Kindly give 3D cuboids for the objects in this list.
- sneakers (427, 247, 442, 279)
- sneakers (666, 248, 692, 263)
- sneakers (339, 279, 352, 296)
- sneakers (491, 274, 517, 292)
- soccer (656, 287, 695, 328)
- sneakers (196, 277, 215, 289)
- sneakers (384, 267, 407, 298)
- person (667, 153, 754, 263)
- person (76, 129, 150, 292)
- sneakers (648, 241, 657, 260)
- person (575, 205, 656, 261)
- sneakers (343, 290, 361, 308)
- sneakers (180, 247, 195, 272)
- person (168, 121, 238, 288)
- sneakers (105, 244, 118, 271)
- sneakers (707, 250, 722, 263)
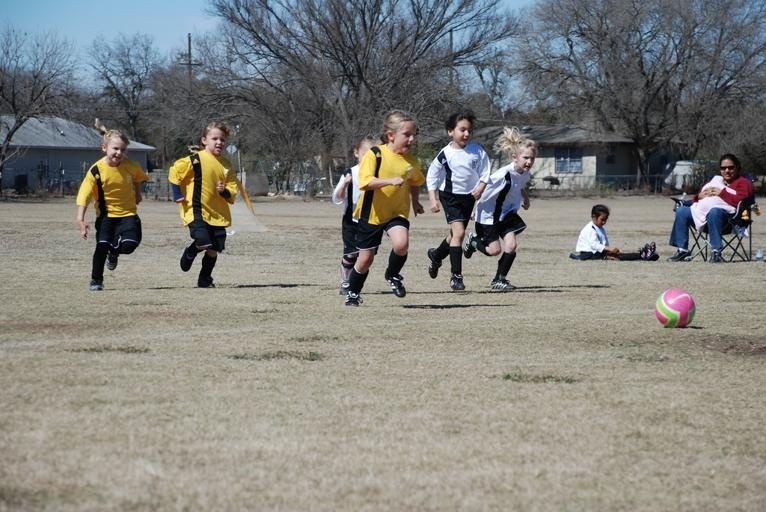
[{"bbox_3d":[0.660,0.118,12.925,0.188,0.419,0.148,9,18,39],"label":"sneakers"},{"bbox_3d":[4.485,-0.014,15.683,0.440,0.212,0.165,-1,3,-4],"label":"sneakers"},{"bbox_3d":[-0.454,0.362,11.959,0.201,0.265,0.167,2,5,-5],"label":"sneakers"},{"bbox_3d":[1.473,0.332,12.454,0.296,0.177,0.419,5,5,7],"label":"sneakers"},{"bbox_3d":[2.927,0.480,10.254,0.425,0.360,0.381,19,10,23],"label":"soccer"},{"bbox_3d":[-2.160,0.335,12.475,0.093,0.123,0.277,3,-11,-33],"label":"sneakers"},{"bbox_3d":[0.177,0.313,11.406,0.149,0.402,0.171,-22,-20,-31],"label":"sneakers"},{"bbox_3d":[4.994,-0.726,15.602,1.095,1.667,0.929,8,5,33],"label":"person"},{"bbox_3d":[-3.290,-0.567,12.275,0.856,1.888,0.585,1,6,-40],"label":"person"},{"bbox_3d":[4.205,-0.075,15.883,0.151,0.261,0.450,6,5,18],"label":"sneakers"},{"bbox_3d":[3.641,-0.355,16.168,1.310,0.838,0.738,0,6,10],"label":"person"},{"bbox_3d":[-0.331,0.452,11.254,0.112,0.121,0.277,2,4,-7],"label":"sneakers"},{"bbox_3d":[-2.520,0.054,13.208,0.116,0.312,0.227,16,-6,-21],"label":"sneakers"},{"bbox_3d":[-2.144,-0.593,12.142,0.778,1.969,0.617,4,5,-7],"label":"person"},{"bbox_3d":[-3.319,-0.004,12.472,0.113,0.316,0.225,-5,12,-35],"label":"sneakers"},{"bbox_3d":[4.977,0.010,15.261,0.189,0.195,0.200,0,-8,6],"label":"sneakers"}]
